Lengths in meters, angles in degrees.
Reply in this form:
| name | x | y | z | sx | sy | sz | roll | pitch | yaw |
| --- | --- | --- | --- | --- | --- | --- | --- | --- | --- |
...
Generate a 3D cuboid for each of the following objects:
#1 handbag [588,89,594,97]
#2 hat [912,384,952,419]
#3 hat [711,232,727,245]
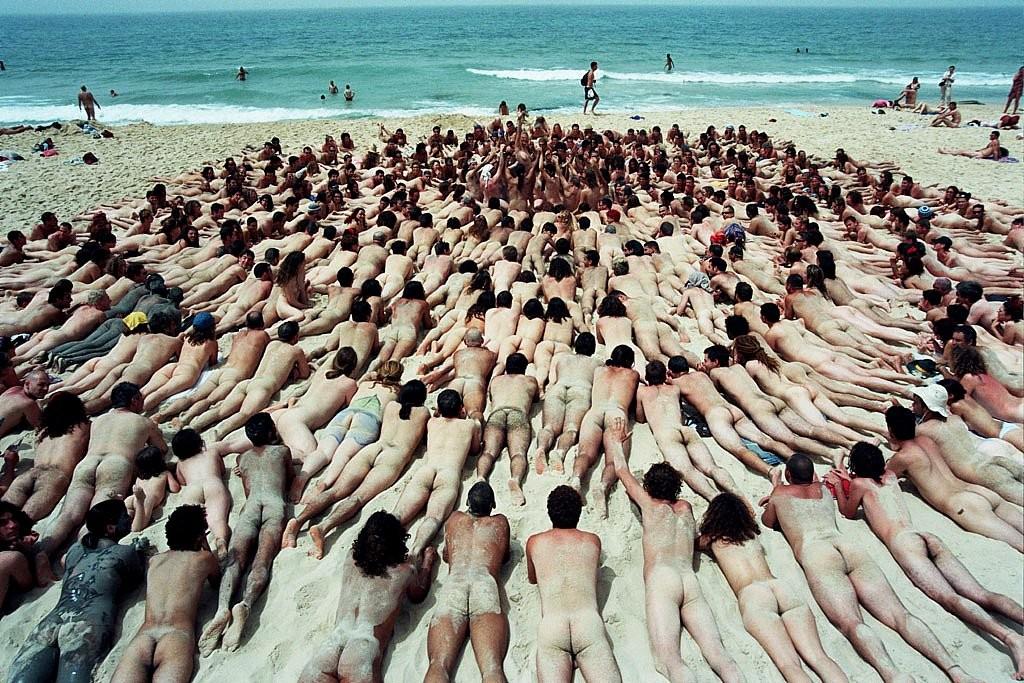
| name | x | y | z | sx | sy | sz | roll | pitch | yaw |
| --- | --- | --- | --- | --- | --- | --- | --- | --- | --- |
| handbag | 3.864 | -12.295 | 29.361 | 0.282 | 0.429 | 0.392 | -1 | 39 | 2 |
| hat | 5.728 | 0.781 | 8.175 | 0.435 | 0.346 | 0.382 | 8 | 30 | 14 |
| hat | 4.718 | -2.378 | 13.721 | 0.344 | 0.230 | 0.427 | 3 | 40 | 10 |
